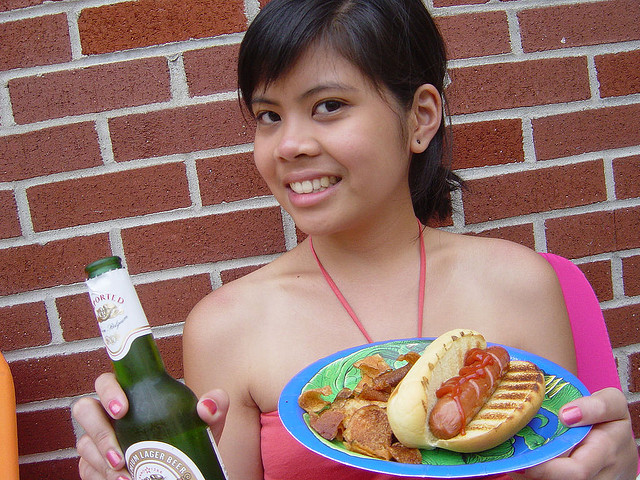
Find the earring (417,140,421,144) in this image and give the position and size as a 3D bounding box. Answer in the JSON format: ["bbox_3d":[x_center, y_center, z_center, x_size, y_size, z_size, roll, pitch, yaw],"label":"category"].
[{"bbox_3d":[0.262,-0.262,1.513,0.008,0.008,0.001,-19,5,-36],"label":"earring"}]

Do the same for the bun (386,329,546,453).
[{"bbox_3d":[0.337,0.331,1.226,0.293,0.128,0.371,27,34,38],"label":"bun"}]

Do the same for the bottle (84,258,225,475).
[{"bbox_3d":[-0.307,0.266,1.153,0.170,0.469,0.208,-4,12,11],"label":"bottle"}]
